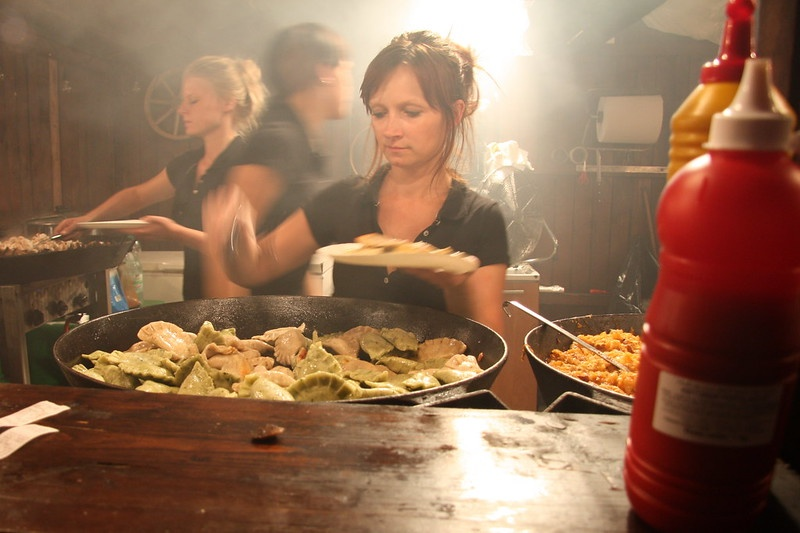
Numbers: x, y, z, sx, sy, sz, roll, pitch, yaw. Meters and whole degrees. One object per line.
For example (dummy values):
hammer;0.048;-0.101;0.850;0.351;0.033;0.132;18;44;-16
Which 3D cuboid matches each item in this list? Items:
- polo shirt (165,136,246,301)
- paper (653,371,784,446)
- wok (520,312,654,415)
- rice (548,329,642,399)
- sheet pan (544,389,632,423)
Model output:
polo shirt;-0.998;-0.242;2.988;0.554;0.706;0.247;11;16;29
paper;0.380;0.176;0.733;0.109;0.091;0.103;1;4;3
wok;0.425;0.225;1.506;0.289;0.142;0.422;-1;8;-34
rice;0.543;0.250;1.618;0.242;0.077;0.250;2;7;1
sheet pan;0.336;0.240;1.053;0.127;0.027;0.117;2;-1;-35
